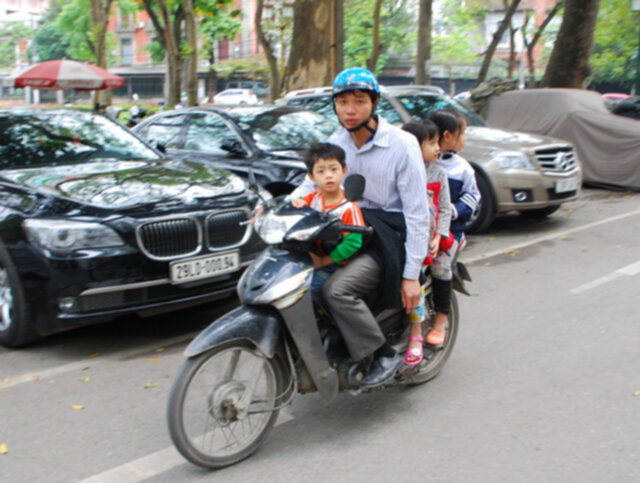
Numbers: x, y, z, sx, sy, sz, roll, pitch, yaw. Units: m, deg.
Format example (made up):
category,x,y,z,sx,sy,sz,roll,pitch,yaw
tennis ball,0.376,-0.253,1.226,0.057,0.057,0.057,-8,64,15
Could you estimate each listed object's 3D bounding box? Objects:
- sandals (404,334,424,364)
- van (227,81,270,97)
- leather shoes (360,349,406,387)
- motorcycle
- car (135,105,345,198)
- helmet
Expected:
category,x,y,z,sx,sy,sz,roll,pitch,yaw
sandals,0.585,0.676,3.068,0.096,0.073,0.235,0,6,17
van,-7.549,-16.539,53.376,6.351,1.628,2.973,15,22,34
leather shoes,0.365,0.731,2.848,0.113,0.083,0.292,-9,8,41
motorcycle,-0.010,0.412,2.717,1.714,1.569,0.566,-17,28,-41
car,-1.128,-1.427,7.476,3.668,0.895,1.669,5,9,39
helmet,0.199,-0.799,2.804,0.250,0.347,0.272,1,21,1
